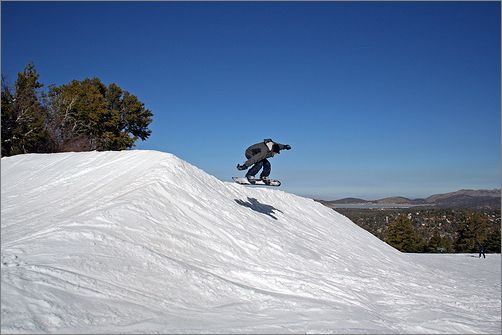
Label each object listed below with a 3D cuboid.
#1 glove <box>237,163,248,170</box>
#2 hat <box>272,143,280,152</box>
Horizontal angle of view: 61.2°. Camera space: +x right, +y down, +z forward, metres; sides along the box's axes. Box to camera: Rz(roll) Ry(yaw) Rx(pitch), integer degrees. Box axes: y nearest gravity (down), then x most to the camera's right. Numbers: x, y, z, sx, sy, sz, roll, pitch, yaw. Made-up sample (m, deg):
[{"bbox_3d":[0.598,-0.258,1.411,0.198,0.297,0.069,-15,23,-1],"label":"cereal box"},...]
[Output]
[{"bbox_3d":[-0.514,0.002,22.443,0.370,0.325,0.615,5,3,5],"label":"glove"},{"bbox_3d":[1.342,-0.998,22.652,0.395,0.470,0.573,-1,-5,3],"label":"hat"}]
